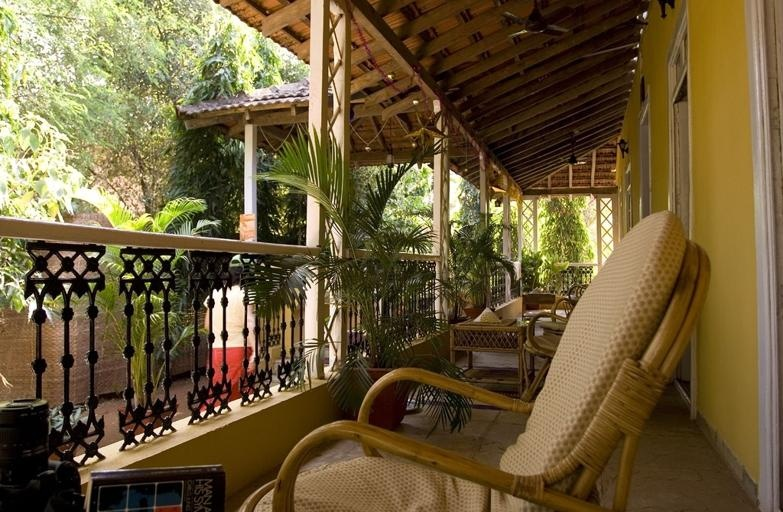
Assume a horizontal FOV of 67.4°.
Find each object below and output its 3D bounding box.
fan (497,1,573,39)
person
[{"bbox_3d":[1.573,-2.626,6.466,0.568,0.295,0.675,1,-8,-15],"label":"fan"},{"bbox_3d":[-1.483,0.825,5.232,0.453,1.650,0.408,7,15,-4],"label":"person"}]
